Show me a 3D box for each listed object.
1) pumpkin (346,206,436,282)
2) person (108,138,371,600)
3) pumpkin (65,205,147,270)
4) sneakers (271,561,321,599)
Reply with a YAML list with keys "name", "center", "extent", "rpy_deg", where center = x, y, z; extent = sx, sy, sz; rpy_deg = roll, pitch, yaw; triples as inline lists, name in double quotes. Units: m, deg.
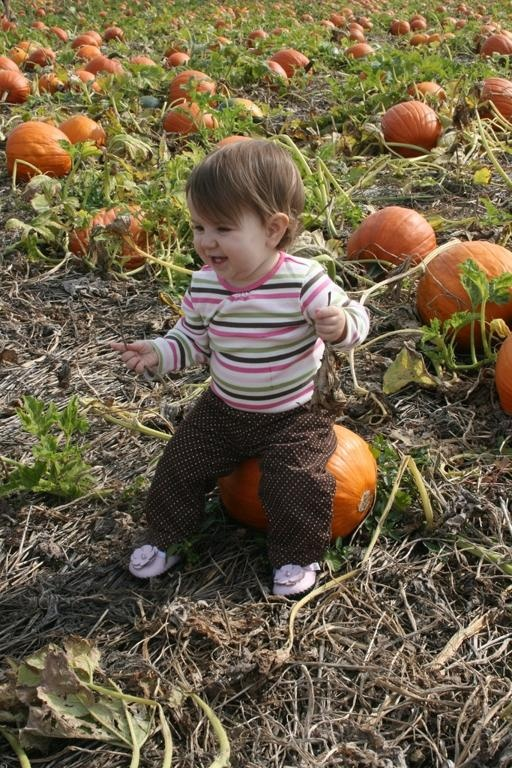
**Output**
- name: "pumpkin"
  center: [0.681, -0.776, 3.573]
  extent: [0.396, 0.362, 0.373]
  rpy_deg: [17, 21, 4]
- name: "person"
  center: [-0.073, 0.004, 1.940]
  extent: [0.709, 1.227, 0.717]
  rpy_deg: [8, 37, -1]
- name: "pumpkin"
  center: [-0.814, -0.804, 3.764]
  extent: [0.296, 0.306, 0.288]
  rpy_deg: [-17, 62, 16]
- name: "sneakers"
  center: [0.122, 0.553, 1.984]
  extent: [0.092, 0.056, 0.117]
  rpy_deg: [14, 28, 42]
